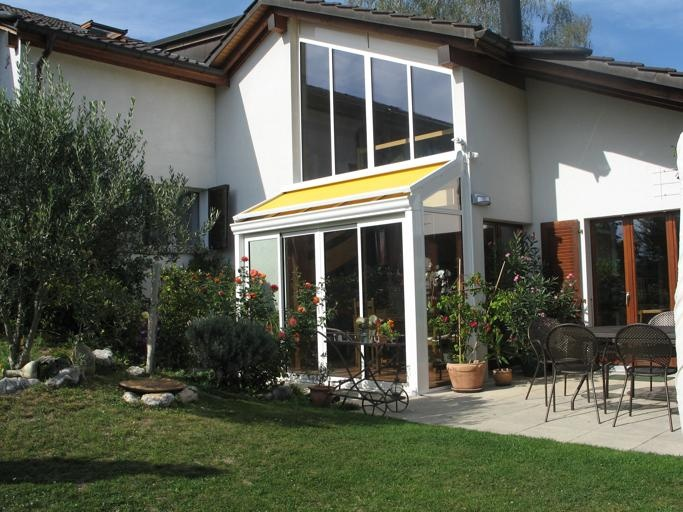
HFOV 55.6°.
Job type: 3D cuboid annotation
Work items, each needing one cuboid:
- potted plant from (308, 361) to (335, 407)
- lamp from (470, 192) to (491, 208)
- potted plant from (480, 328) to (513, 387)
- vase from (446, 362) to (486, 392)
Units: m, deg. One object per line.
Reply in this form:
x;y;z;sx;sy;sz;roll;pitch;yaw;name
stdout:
-0.520;2.566;12.723;0.529;0.942;0.595;1;-9;-4;potted plant
3.421;-1.358;15.705;0.184;0.322;0.785;5;6;39;lamp
3.750;2.304;15.421;0.641;1.407;1.556;2;5;15;potted plant
2.751;2.624;14.045;0.600;0.473;0.656;1;-8;-13;vase
